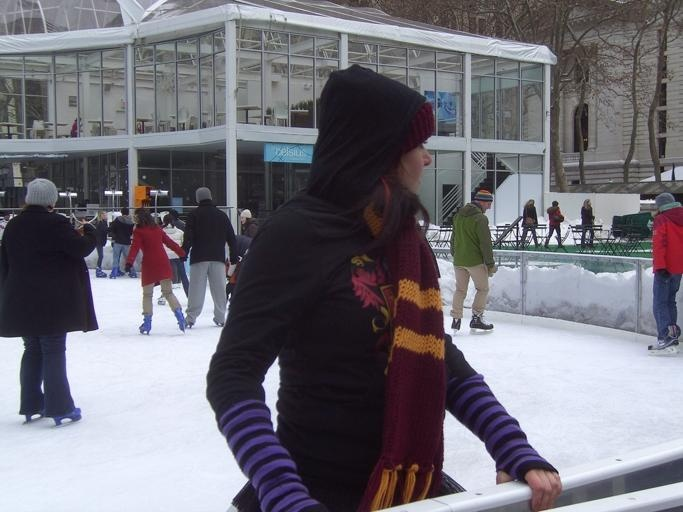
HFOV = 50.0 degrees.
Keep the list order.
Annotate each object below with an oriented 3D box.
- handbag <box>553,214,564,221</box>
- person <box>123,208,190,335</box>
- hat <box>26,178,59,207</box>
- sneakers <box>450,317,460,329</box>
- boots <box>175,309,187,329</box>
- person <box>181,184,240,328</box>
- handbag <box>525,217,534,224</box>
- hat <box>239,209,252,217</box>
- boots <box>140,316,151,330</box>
[{"bbox_3d":[7.605,-1.364,25.780,0.267,0.148,0.380,22,-11,-24],"label":"handbag"},{"bbox_3d":[-2.937,0.185,11.470,0.870,1.900,1.406,-2,4,-17],"label":"person"},{"bbox_3d":[-2.822,-0.617,6.858,0.214,0.309,0.303,3,9,-10],"label":"hat"},{"bbox_3d":[1.740,1.027,11.204,0.167,0.272,0.142,2,-7,1],"label":"sneakers"},{"bbox_3d":[-2.492,0.961,11.236,0.166,0.383,0.552,-1,4,-12],"label":"boots"},{"bbox_3d":[-2.074,-0.027,11.400,0.784,2.227,0.492,-3,9,-19],"label":"person"},{"bbox_3d":[6.541,-1.229,25.442,0.185,0.232,0.210,-3,-12,21],"label":"handbag"},{"bbox_3d":[-1.912,-0.859,14.396,0.157,0.158,0.249,5,21,-39],"label":"hat"},{"bbox_3d":[-2.978,1.024,11.079,0.163,0.271,0.253,-1,4,-15],"label":"boots"}]
